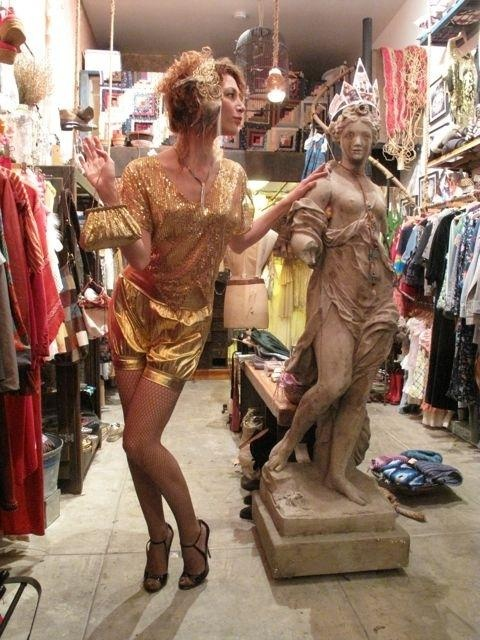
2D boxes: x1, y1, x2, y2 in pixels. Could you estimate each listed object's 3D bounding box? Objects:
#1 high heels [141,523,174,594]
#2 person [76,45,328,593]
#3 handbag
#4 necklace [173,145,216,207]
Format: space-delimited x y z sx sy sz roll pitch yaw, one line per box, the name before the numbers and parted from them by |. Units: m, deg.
high heels | -0.277 0.779 1.576 0.075 0.226 0.093 -5 -9 27
person | -0.175 0.056 1.431 0.419 1.673 0.516 1 -1 -17
handbag | -0.329 -0.283 1.170 0.193 0.136 0.095 -16 3 -24
necklace | -0.126 -0.415 1.366 0.136 0.184 0.086 1 -1 -18
